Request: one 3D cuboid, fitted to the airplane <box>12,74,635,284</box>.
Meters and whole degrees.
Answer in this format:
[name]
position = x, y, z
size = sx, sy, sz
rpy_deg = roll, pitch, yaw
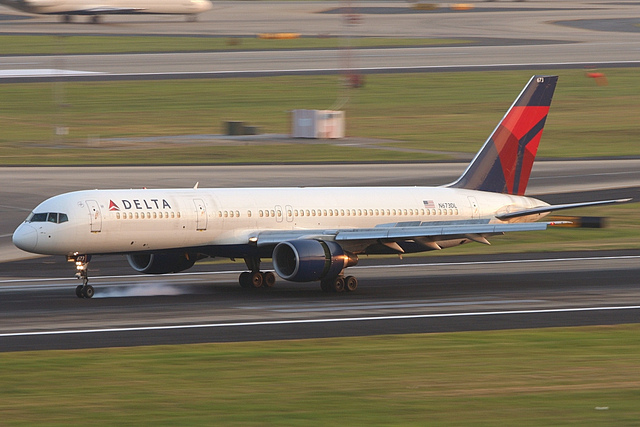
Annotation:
[airplane]
position = 0.022, -1.036, 60.477
size = 31.857, 5.432, 17.544
rpy_deg = -3, 14, -21
